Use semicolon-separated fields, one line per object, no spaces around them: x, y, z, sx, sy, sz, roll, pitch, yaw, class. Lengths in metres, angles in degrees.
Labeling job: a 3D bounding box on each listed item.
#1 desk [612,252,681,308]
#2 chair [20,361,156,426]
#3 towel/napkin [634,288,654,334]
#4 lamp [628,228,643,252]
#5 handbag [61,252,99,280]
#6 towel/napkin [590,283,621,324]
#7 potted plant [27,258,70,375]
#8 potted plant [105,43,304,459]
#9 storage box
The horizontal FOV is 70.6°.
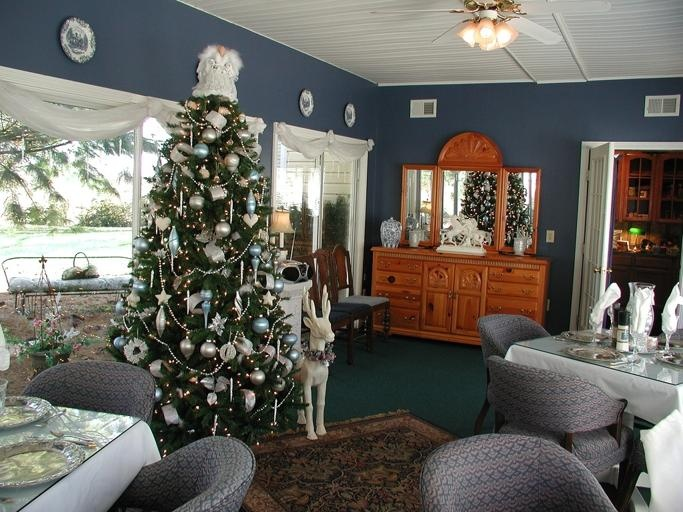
3.894;0.277;6.097;0.815;0.735;0.294;-2;-6;41;desk
-1.250;0.676;2.451;0.395;0.443;0.399;5;-6;-5;chair
2.028;0.367;3.245;0.116;0.311;0.247;7;11;31;towel/napkin
4.685;-0.262;7.686;0.216;0.352;0.119;7;11;30;lamp
-2.134;0.077;3.908;0.099;0.191;0.227;4;4;42;handbag
1.954;0.349;3.586;0.162;0.316;0.360;7;10;30;towel/napkin
-2.293;0.476;3.768;0.327;0.929;0.251;-4;11;-32;potted plant
-0.864;0.129;3.215;1.197;2.340;0.547;-2;10;-21;potted plant
1.546;-0.240;6.233;2.054;2.705;0.848;5;10;19;storage box
